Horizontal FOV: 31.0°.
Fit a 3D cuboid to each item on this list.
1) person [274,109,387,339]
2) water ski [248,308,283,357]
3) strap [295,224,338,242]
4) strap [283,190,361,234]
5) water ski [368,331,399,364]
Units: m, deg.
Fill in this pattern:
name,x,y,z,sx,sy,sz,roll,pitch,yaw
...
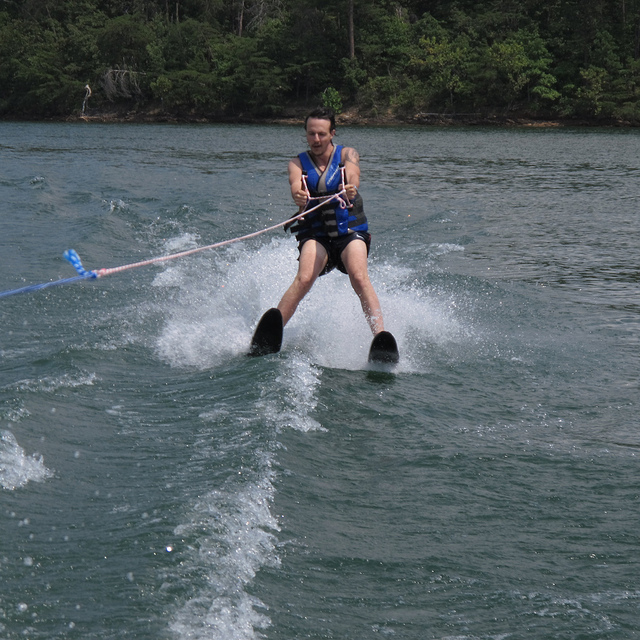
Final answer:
name,x,y,z,sx,sy,sz,roll,pitch,yaw
person,0.040,-0.750,8.302,0.726,1.524,0.756,-2,13,-2
water ski,-0.370,0.064,7.930,0.144,0.063,0.485,11,34,3
strap,-0.002,-0.646,8.344,0.194,0.046,0.131,-16,0,-8
strap,0.053,-0.778,8.338,0.413,0.091,0.399,-28,12,-10
water ski,0.434,0.189,7.934,0.209,0.255,0.168,-1,13,2
